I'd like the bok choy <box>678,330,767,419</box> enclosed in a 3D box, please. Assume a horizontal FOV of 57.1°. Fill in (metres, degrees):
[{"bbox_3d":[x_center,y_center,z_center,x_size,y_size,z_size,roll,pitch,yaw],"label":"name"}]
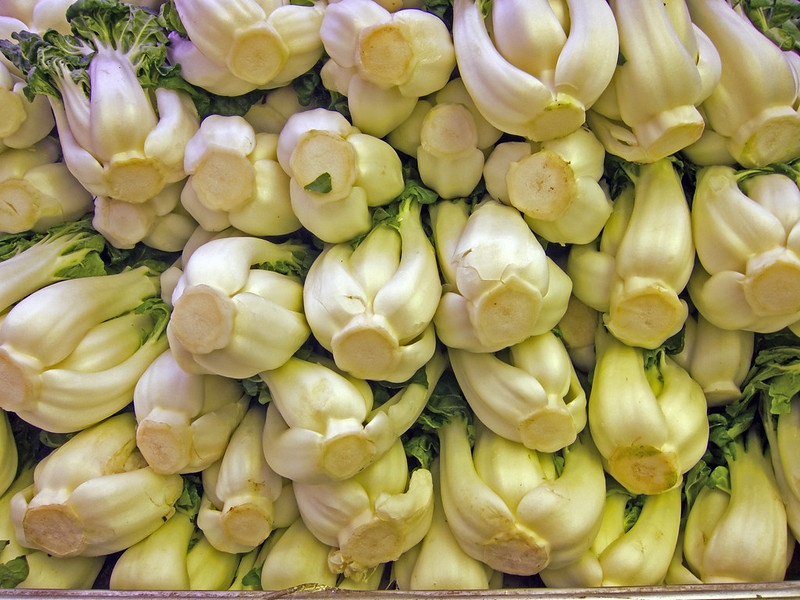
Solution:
[{"bbox_3d":[1.407,0.269,3.191,0.198,0.218,0.338,2,55,21],"label":"bok choy"}]
